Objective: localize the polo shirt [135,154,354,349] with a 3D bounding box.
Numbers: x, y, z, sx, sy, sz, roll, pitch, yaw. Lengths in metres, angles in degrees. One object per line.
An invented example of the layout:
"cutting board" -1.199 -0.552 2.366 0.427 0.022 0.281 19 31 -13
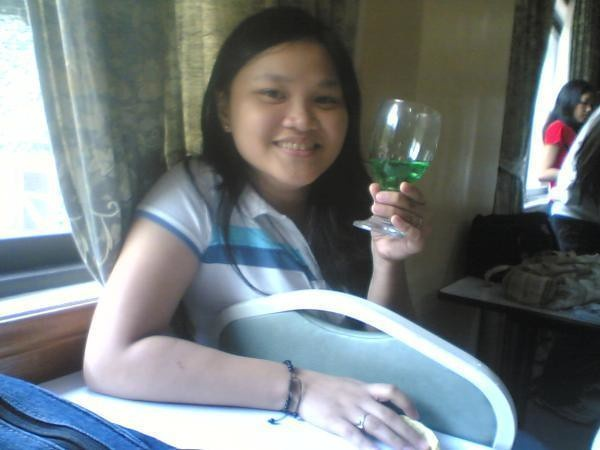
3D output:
"polo shirt" -0.168 0.076 1.297 0.244 0.417 0.449 -25 1 26

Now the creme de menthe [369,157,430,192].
"creme de menthe" 0.250 -0.132 1.243 0.094 0.077 0.103 4 -4 35

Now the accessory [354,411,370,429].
"accessory" 0.134 0.424 1.037 0.028 0.028 0.009 10 -8 45
